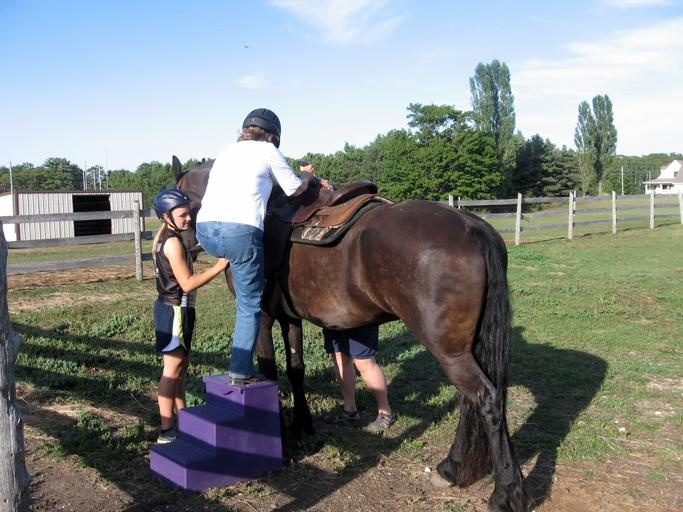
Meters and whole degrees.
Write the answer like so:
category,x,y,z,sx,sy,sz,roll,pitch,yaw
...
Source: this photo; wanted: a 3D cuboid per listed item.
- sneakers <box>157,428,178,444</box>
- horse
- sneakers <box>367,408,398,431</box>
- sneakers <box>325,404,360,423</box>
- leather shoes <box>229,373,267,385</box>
category,x,y,z,sx,sy,sz,roll,pitch,yaw
sneakers,-1.426,1.473,4.210,0.085,0.098,0.217,1,-3,12
horse,0.344,0.588,4.036,2.384,2.132,0.846,7,13,37
sneakers,0.384,1.512,4.688,0.115,0.138,0.282,-7,-7,44
sneakers,0.006,1.494,4.832,0.297,0.131,0.137,3,-8,-8
leather shoes,-0.729,0.932,3.976,0.266,0.104,0.097,-3,6,-22
